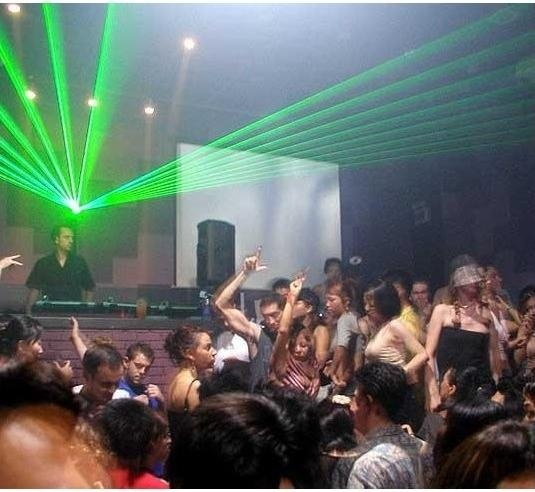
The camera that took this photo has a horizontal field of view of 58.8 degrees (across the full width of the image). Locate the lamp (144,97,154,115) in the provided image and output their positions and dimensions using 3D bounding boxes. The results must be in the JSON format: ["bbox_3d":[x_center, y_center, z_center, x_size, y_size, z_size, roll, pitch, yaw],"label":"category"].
[{"bbox_3d":[-1.172,-1.388,4.720,0.090,0.138,0.044,-2,0,-20],"label":"lamp"}]

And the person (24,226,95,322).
[{"bbox_3d":[-1.789,0.260,4.020,0.608,1.175,0.340,5,-26,-32],"label":"person"}]
